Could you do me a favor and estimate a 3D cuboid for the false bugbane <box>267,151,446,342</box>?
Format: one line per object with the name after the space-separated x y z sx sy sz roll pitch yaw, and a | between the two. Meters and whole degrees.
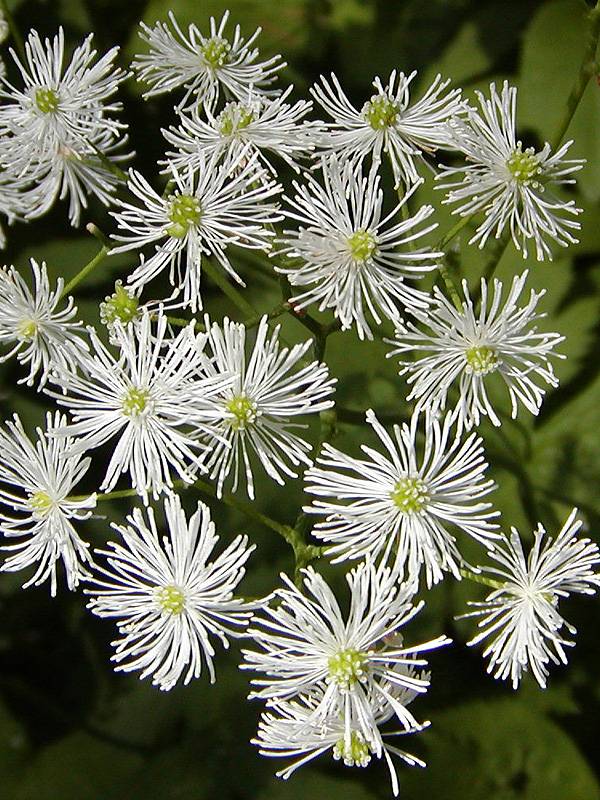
0.039 -0.123 0.604 0.115 0.119 0.047 -19 68 40 | false bugbane

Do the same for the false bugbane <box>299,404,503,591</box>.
0.073 0.062 0.588 0.127 0.130 0.037 -21 99 25 | false bugbane

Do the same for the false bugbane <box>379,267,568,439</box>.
0.122 -0.040 0.604 0.111 0.110 0.037 -16 55 22 | false bugbane

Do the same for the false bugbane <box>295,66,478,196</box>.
0.063 -0.208 0.660 0.121 0.111 0.041 2 84 -11 | false bugbane

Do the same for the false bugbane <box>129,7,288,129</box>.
-0.070 -0.278 0.695 0.111 0.099 0.030 15 92 5 | false bugbane

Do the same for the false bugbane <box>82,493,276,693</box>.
-0.088 0.124 0.587 0.101 0.104 0.031 10 97 41 | false bugbane

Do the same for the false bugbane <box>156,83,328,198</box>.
-0.045 -0.202 0.641 0.112 0.110 0.036 -4 99 18 | false bugbane

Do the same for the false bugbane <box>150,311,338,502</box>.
-0.041 -0.007 0.611 0.127 0.038 0.125 18 92 -24 | false bugbane

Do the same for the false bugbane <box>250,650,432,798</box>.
0.022 0.227 0.631 0.124 0.041 0.113 14 96 -5 | false bugbane

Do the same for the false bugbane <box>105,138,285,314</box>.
-0.080 -0.130 0.612 0.107 0.038 0.113 27 68 27 | false bugbane

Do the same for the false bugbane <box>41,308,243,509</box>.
-0.105 0.001 0.577 0.139 0.140 0.045 22 121 40 | false bugbane
